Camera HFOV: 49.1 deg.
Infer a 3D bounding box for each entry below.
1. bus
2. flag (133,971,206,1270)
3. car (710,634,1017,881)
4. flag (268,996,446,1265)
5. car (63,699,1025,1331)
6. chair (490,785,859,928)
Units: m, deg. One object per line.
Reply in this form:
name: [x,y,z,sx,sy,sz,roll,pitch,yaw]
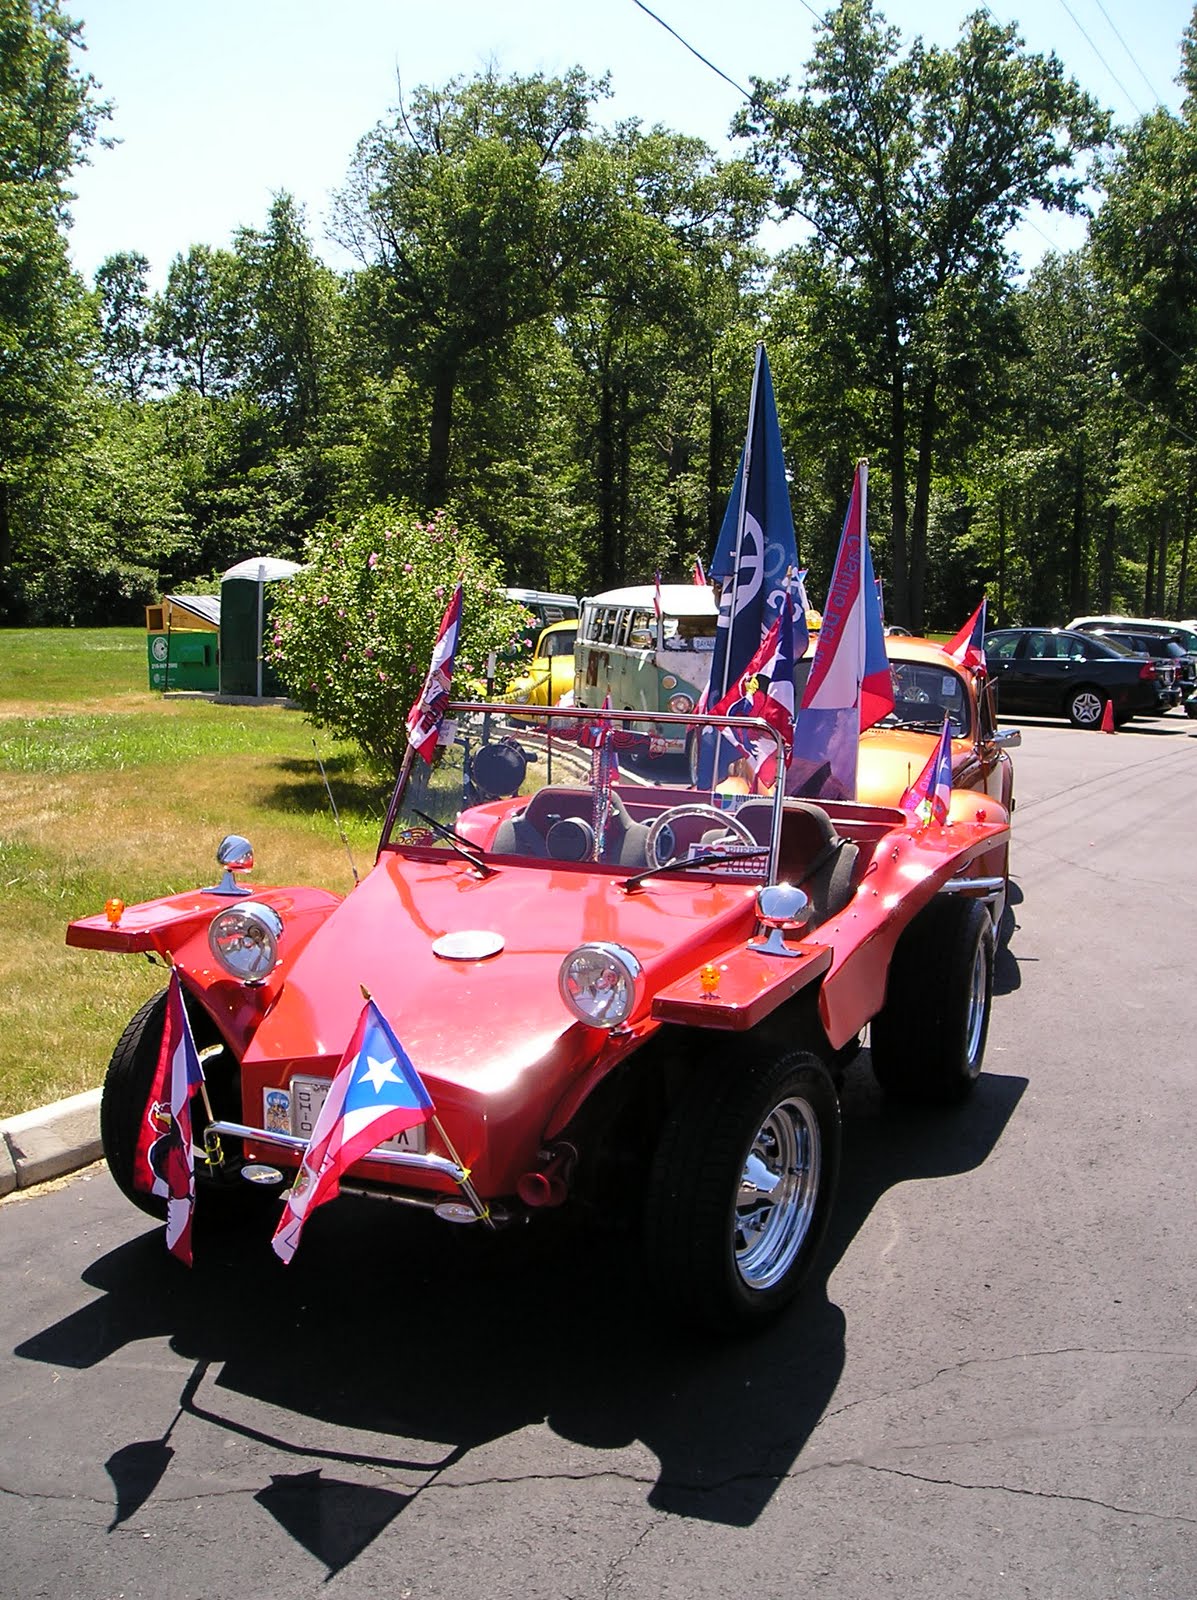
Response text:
bus: [0.634,-1.918,16.341,1.533,1.597,3.236,-1,6,-12]
flag: [-1.169,0.886,3.555,0.181,0.827,0.613,-1,3,-19]
car: [2.092,-0.354,8.696,1.328,1.123,2.192,3,10,17]
flag: [-0.564,0.731,2.998,0.339,0.552,0.356,0,3,5]
car: [0.081,0.567,4.143,1.740,1.243,2.803,2,4,28]
chair: [0.235,0.132,4.351,0.814,0.353,0.580,4,0,16]
